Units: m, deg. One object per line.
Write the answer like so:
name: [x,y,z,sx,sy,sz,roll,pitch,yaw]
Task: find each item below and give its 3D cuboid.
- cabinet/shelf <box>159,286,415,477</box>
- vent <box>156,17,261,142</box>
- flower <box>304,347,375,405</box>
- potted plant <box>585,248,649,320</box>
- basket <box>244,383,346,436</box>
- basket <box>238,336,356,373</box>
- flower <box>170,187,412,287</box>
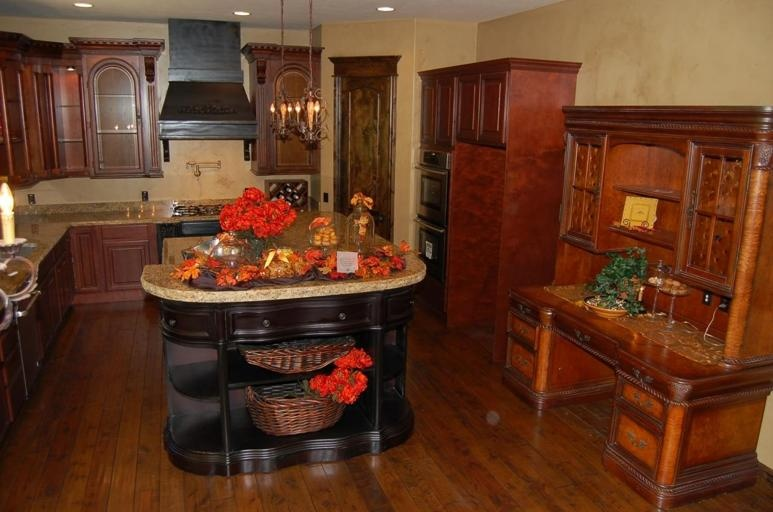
cabinet/shelf: [-0.829,0.989,4.284,1.412,0.826,0.517,-5,19,-15]
vent: [-2.237,-2.122,6.679,1.111,1.362,0.838,-7,16,-25]
flower: [-0.328,0.952,4.321,0.498,0.228,0.428,-15,13,22]
potted plant: [2.046,0.225,4.734,0.584,0.338,0.589,14,23,28]
basket: [-0.748,1.226,4.383,0.542,0.201,0.405,0,8,-19]
basket: [-0.708,0.780,4.287,0.500,0.127,0.376,-4,6,-19]
flower: [-0.801,-0.029,4.301,1.269,0.413,1.014,-4,12,-21]
